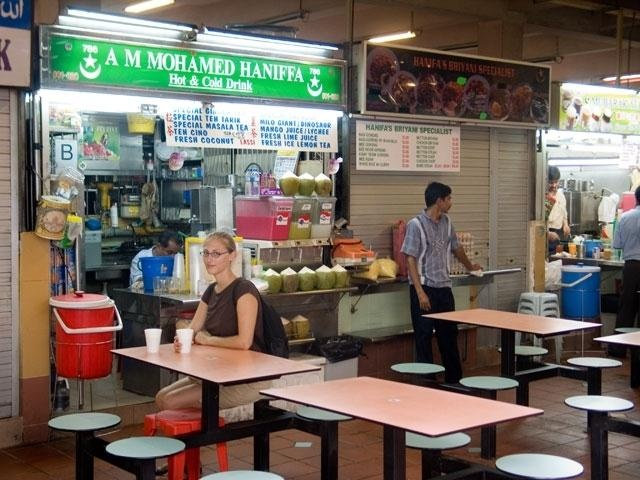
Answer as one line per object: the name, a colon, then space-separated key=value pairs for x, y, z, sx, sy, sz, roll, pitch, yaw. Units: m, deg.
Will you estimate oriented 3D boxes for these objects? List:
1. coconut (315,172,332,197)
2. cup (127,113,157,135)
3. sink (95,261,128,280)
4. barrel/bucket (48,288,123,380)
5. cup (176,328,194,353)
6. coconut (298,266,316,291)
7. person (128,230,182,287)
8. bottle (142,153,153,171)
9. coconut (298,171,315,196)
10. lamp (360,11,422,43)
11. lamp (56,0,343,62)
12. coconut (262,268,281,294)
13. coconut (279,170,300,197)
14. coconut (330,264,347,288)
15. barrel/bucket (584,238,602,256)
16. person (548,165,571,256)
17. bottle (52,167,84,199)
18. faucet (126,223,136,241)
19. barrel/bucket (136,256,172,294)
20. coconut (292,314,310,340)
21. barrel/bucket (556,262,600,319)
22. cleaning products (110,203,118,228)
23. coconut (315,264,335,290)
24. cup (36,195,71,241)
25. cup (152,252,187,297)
coconut: x=0.031 y=-0.629 z=6.574 sx=0.246 sy=0.286 sz=0.239 roll=4 pitch=-14 yaw=-22
cup: x=-2.301 y=-1.477 z=7.246 sx=0.376 sy=0.226 sz=0.372 roll=0 pitch=2 yaw=0
sink: x=-3.771 y=0.445 z=10.035 sx=0.545 sy=0.370 sz=0.287 roll=-5 pitch=12 yaw=-32
barrel/bucket: x=-2.107 y=0.840 z=5.045 sx=0.576 sy=0.733 sz=0.637 roll=0 pitch=-4 yaw=-29
cup: x=-0.934 y=0.706 z=3.946 sx=0.148 sy=0.157 sz=0.148 roll=0 pitch=-2 yaw=0
coconut: x=-0.149 y=0.455 z=6.252 sx=0.230 sy=0.296 sz=0.229 roll=4 pitch=-6 yaw=-44
person: x=-2.133 y=0.198 z=7.013 sx=0.773 sy=0.742 sz=0.604 roll=5 pitch=6 yaw=33
bottle: x=-3.288 y=-1.481 z=10.726 sx=0.197 sy=0.326 sz=0.137 roll=-3 pitch=5 yaw=-15
coconut: x=-0.167 y=-0.642 z=6.378 sx=0.229 sy=0.264 sz=0.224 roll=1 pitch=-1 yaw=-35
lamp: x=1.587 y=-4.424 z=12.168 sx=1.093 sy=0.339 sz=2.161 roll=-1 pitch=5 yaw=2
lamp: x=-1.233 y=-2.025 z=5.611 sx=2.597 sy=0.214 sz=0.194 roll=-5 pitch=6 yaw=-31
coconut: x=-0.500 y=0.458 z=6.037 sx=0.222 sy=0.262 sz=0.224 roll=-4 pitch=-1 yaw=2
coconut: x=-0.345 y=-0.613 z=6.268 sx=0.241 sy=0.281 sz=0.240 roll=-1 pitch=7 yaw=7
coconut: x=0.243 y=0.432 z=6.481 sx=0.222 sy=0.271 sz=0.226 roll=-2 pitch=0 yaw=23
barrel/bucket: x=4.610 y=0.130 z=9.572 sx=0.270 sy=0.283 sz=0.269 roll=-1 pitch=4 yaw=0
person: x=4.337 y=-0.563 z=10.233 sx=0.365 sy=1.552 sz=1.531 roll=1 pitch=5 yaw=26
bottle: x=-2.417 y=-0.538 z=5.339 sx=0.218 sy=0.307 sz=0.413 roll=-2 pitch=5 yaw=-4
faucet: x=-3.526 y=-0.151 z=10.490 sx=0.086 sy=0.235 sz=0.239 roll=-14 pitch=-9 yaw=39
barrel/bucket: x=-1.798 y=0.384 z=6.137 sx=0.374 sy=0.277 sz=0.365 roll=0 pitch=-3 yaw=0
coconut: x=-0.226 y=0.983 z=6.240 sx=0.227 sy=0.266 sz=0.238 roll=2 pitch=-5 yaw=-20
barrel/bucket: x=4.026 y=0.860 z=8.771 sx=0.687 sy=0.941 sz=0.693 roll=0 pitch=1 yaw=0
cleaning products: x=-3.764 y=-0.447 z=10.292 sx=0.164 sy=0.447 sz=0.162 roll=-5 pitch=6 yaw=-36
coconut: x=0.052 y=0.438 z=6.365 sx=0.245 sy=0.278 sz=0.239 roll=1 pitch=-3 yaw=-28
cup: x=-2.464 y=-0.202 z=5.195 sx=0.301 sy=0.327 sz=0.303 roll=13 pitch=10 yaw=-2
cup: x=-1.551 y=0.397 z=5.983 sx=0.263 sy=0.462 sz=0.462 roll=6 pitch=-8 yaw=-40
